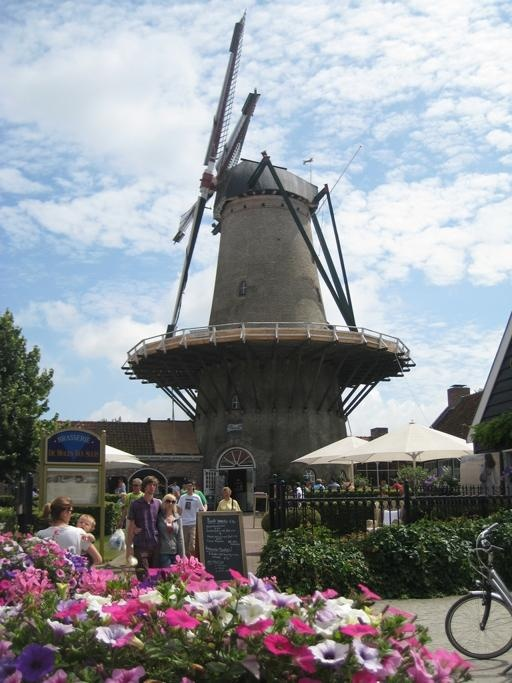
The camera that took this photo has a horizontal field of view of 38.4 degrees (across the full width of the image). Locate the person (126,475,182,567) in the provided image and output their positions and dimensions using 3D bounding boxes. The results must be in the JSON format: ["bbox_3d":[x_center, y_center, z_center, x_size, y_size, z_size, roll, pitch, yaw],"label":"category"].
[{"bbox_3d":[-1.231,2.054,8.220,0.395,1.026,0.664,3,-7,-8],"label":"person"}]

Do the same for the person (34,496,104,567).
[{"bbox_3d":[-1.480,1.559,5.930,0.488,0.547,0.936,3,-6,-9],"label":"person"}]

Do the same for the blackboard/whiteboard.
[{"bbox_3d":[-0.400,2.372,8.506,0.547,0.741,0.466,2,-7,-5],"label":"blackboard/whiteboard"}]

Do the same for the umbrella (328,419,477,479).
[{"bbox_3d":[3.206,2.164,15.070,2.316,0.948,3.944,0,-6,15],"label":"umbrella"}]
